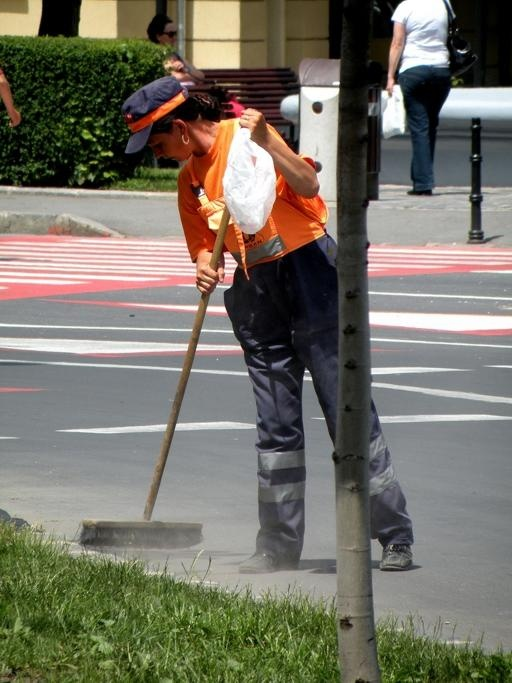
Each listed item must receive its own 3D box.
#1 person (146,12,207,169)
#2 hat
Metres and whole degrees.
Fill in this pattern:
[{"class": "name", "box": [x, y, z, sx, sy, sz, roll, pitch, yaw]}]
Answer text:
[{"class": "person", "box": [-1.214, -3.856, 20.686, 0.675, 1.804, 0.550, 2, 29, 9]}, {"class": "hat", "box": [-0.319, -0.718, 4.498, 0.206, 0.242, 0.225, 0, 9, -6]}]
